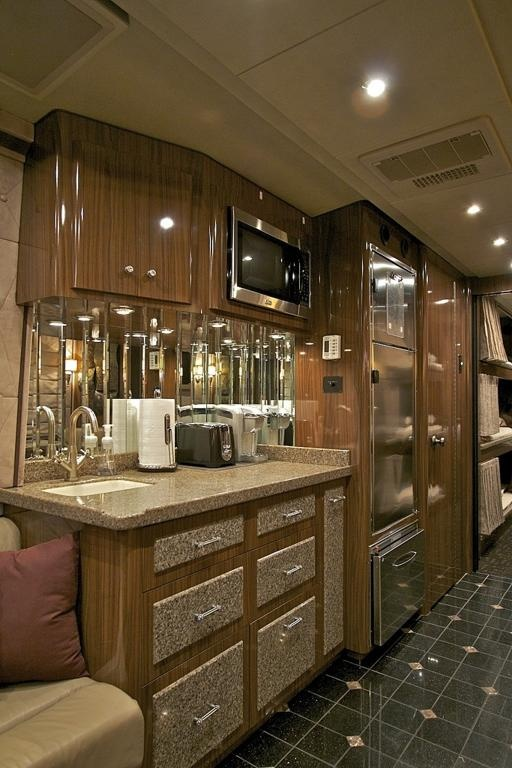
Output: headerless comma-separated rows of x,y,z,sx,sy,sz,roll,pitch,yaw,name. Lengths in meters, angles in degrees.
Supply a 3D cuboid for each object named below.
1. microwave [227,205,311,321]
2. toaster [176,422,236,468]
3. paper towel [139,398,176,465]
0.048,-0.540,2.362,0.191,0.397,0.342,4,1,39,microwave
-0.228,0.267,2.421,0.214,0.213,0.167,4,-1,37,toaster
-0.422,0.204,2.266,0.154,0.304,0.167,1,9,1,paper towel
